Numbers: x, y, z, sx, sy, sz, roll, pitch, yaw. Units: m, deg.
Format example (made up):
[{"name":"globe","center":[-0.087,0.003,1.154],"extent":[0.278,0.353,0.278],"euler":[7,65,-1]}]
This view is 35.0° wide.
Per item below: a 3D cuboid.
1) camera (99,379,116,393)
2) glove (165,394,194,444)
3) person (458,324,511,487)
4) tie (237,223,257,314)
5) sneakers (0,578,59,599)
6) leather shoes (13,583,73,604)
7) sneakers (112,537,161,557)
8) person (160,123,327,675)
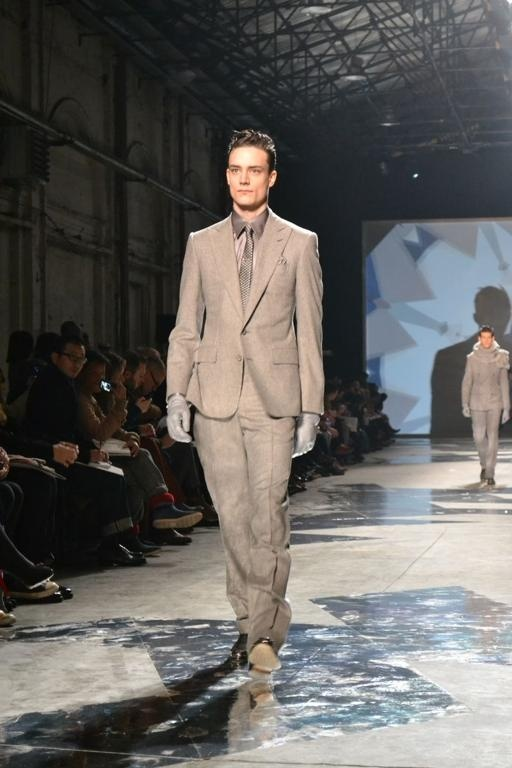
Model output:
[{"name":"camera","center":[-0.837,0.012,4.470],"extent":[0.065,0.087,0.117],"euler":[4,-2,33]},{"name":"glove","center":[-0.211,0.091,2.168],"extent":[0.059,0.127,0.144],"euler":[-3,2,-6]},{"name":"person","center":[2.499,0.209,8.791],"extent":[0.505,1.674,0.986],"euler":[-2,2,14]},{"name":"tie","center":[-0.028,-0.315,2.175],"extent":[0.038,0.230,0.021],"euler":[0,-20,5]},{"name":"sneakers","center":[-0.850,0.786,3.157],"extent":[0.282,0.091,0.091],"euler":[-2,-4,2]},{"name":"leather shoes","center":[-0.842,0.805,3.151],"extent":[0.177,0.052,0.090],"euler":[-2,-7,1]},{"name":"sneakers","center":[-0.624,0.858,4.255],"extent":[0.257,0.088,0.076],"euler":[3,0,-17]},{"name":"person","center":[-0.054,0.034,2.196],"extent":[0.426,1.466,0.378],"euler":[-1,3,37]}]
